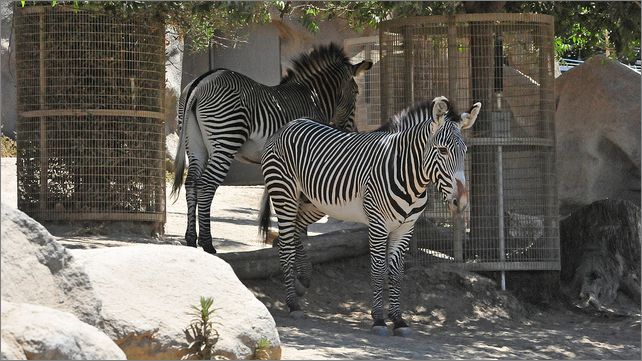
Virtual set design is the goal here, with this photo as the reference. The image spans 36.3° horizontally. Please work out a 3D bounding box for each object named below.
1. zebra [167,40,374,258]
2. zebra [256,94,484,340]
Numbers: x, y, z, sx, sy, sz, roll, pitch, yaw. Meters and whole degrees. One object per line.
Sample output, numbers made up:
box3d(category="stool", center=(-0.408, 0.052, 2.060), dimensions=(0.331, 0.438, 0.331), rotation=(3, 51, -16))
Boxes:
box3d(category="zebra", center=(-0.883, -0.663, 17.523), dimensions=(1.222, 3.573, 4.492), rotation=(11, 12, 40))
box3d(category="zebra", center=(0.596, 0.380, 15.666), dimensions=(4.316, 3.784, 1.306), rotation=(8, 8, 42))
